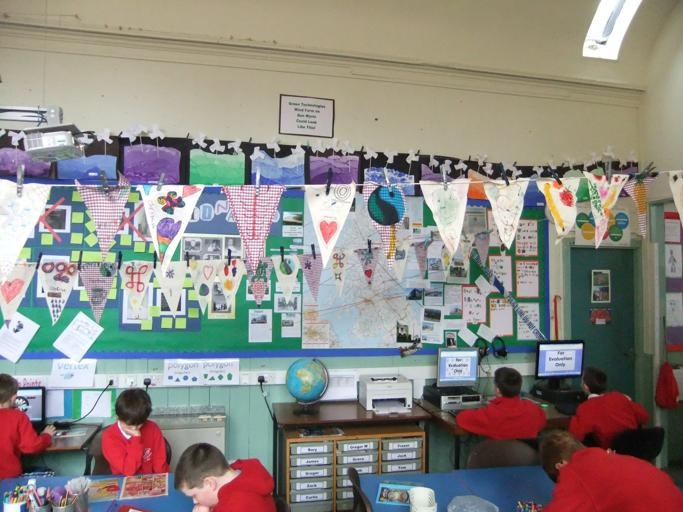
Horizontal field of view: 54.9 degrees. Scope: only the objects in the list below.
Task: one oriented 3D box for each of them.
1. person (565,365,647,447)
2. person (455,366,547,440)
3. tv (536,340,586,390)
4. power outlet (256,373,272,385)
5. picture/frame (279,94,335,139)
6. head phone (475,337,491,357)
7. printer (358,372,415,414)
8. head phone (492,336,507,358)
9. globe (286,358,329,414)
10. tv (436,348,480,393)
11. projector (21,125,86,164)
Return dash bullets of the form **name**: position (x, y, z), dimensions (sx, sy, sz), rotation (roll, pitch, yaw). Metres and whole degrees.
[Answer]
- **person**: position (2.173, 1.307, 5.390), dimensions (0.557, 0.797, 0.390), rotation (-17, 15, 4)
- **person**: position (1.296, 1.204, 5.401), dimensions (0.714, 0.546, 0.267), rotation (-4, -7, 17)
- **tv**: position (2.054, 1.004, 6.165), dimensions (0.458, 0.405, 0.108), rotation (3, -1, -23)
- **power outlet**: position (-0.696, 1.091, 5.837), dimensions (0.124, 0.093, 0.029), rotation (0, 6, -16)
- **picture/frame**: position (-0.313, -1.269, 5.964), dimensions (0.498, 0.382, 0.012), rotation (4, 34, -2)
- **head phone**: position (1.345, 0.875, 6.227), dimensions (0.153, 0.183, 0.060), rotation (2, -7, -29)
- **printer**: position (0.398, 1.189, 5.777), dimensions (0.485, 0.294, 0.378), rotation (1, -2, -13)
- **head phone**: position (1.501, 0.868, 6.269), dimensions (0.127, 0.198, 0.084), rotation (-7, -7, -12)
- **globe**: position (-0.278, 1.100, 5.666), dimensions (0.305, 0.454, 0.237), rotation (3, -1, -20)
- **tv**: position (1.062, 1.037, 6.030), dimensions (0.347, 0.377, 0.131), rotation (4, -2, -18)
- **projector**: position (-1.947, -0.769, 4.446), dimensions (0.347, 0.217, 0.244), rotation (-2, -6, 5)
